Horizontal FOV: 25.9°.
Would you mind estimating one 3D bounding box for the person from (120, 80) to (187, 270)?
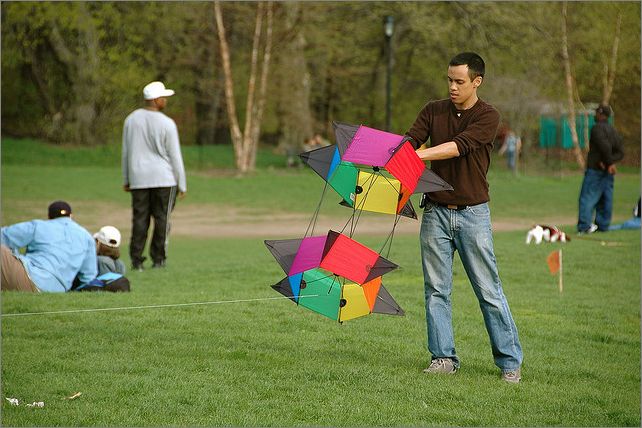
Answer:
[{"bbox_3d":[-2.484,-0.532,20.533,0.903,2.743,0.314,-2,5,-9],"label":"person"}]

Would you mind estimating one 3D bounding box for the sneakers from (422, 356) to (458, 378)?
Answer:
[{"bbox_3d":[1.492,1.962,17.651,0.451,0.207,0.182,1,10,-8],"label":"sneakers"}]

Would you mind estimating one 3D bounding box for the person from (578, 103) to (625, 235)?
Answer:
[{"bbox_3d":[4.005,-0.598,19.988,0.397,1.902,0.845,-2,5,-11],"label":"person"}]

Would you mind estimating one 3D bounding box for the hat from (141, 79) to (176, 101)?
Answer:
[{"bbox_3d":[-2.410,-1.786,20.548,0.384,0.211,0.280,-8,19,-22],"label":"hat"}]

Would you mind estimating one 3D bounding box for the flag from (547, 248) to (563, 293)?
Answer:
[{"bbox_3d":[3.380,0.809,20.097,0.225,0.643,0.888,0,6,9],"label":"flag"}]

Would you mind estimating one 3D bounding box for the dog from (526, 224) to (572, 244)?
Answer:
[{"bbox_3d":[3.443,0.351,21.246,0.638,0.328,0.197,5,-25,31],"label":"dog"}]

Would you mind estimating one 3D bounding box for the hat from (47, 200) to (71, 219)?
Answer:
[{"bbox_3d":[-3.626,-0.058,19.388,0.295,0.230,0.494,6,3,-9],"label":"hat"}]

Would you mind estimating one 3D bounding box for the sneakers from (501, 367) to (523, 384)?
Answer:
[{"bbox_3d":[2.417,2.053,17.609,0.282,0.184,0.176,-1,6,-5],"label":"sneakers"}]
